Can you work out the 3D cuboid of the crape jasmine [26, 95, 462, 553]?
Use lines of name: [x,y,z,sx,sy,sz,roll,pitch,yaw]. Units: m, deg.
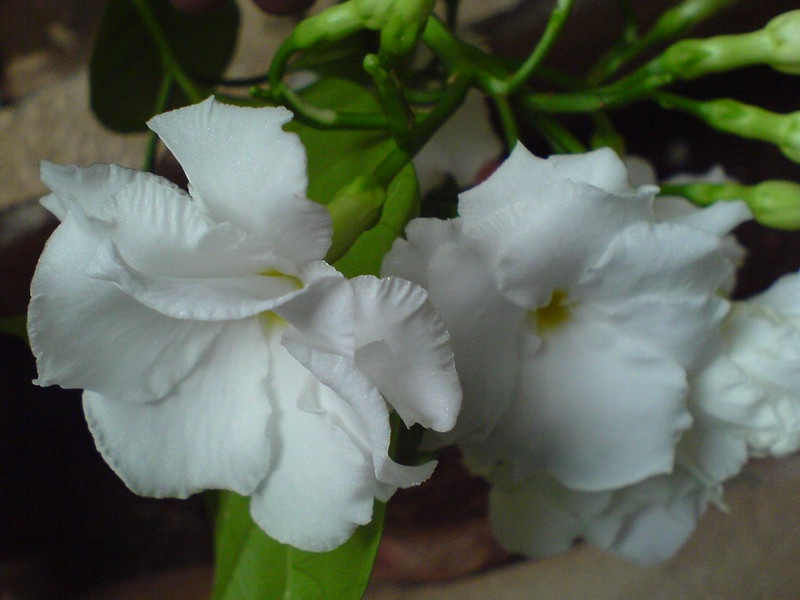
crape jasmine: [-0.115,0.022,0.700,0.324,0.267,0.196,5,46,3]
